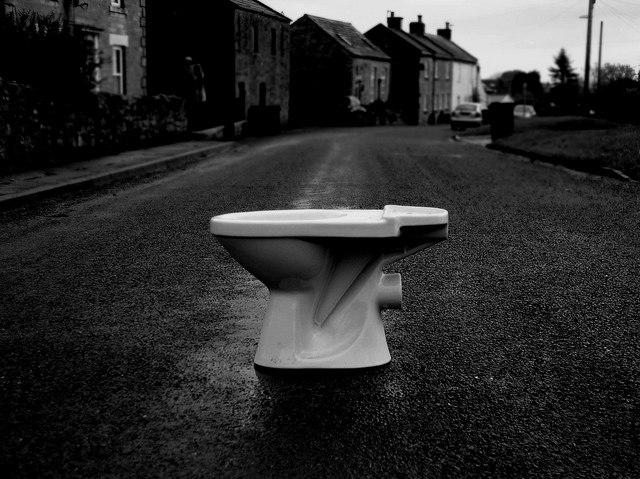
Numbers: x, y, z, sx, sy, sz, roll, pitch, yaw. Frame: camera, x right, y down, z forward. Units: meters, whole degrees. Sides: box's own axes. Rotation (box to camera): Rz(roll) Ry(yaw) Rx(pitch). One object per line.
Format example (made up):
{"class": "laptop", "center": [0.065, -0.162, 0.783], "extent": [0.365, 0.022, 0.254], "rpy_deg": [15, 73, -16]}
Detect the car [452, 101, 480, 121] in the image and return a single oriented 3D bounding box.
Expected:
{"class": "car", "center": [8.572, -7.575, 33.018], "extent": [1.459, 0.947, 1.641], "rpy_deg": [8, 15, 30]}

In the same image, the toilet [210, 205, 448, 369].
{"class": "toilet", "center": [0.075, 0.219, 3.453], "extent": [1.300, 1.095, 0.948], "rpy_deg": [4, 19, 11]}
